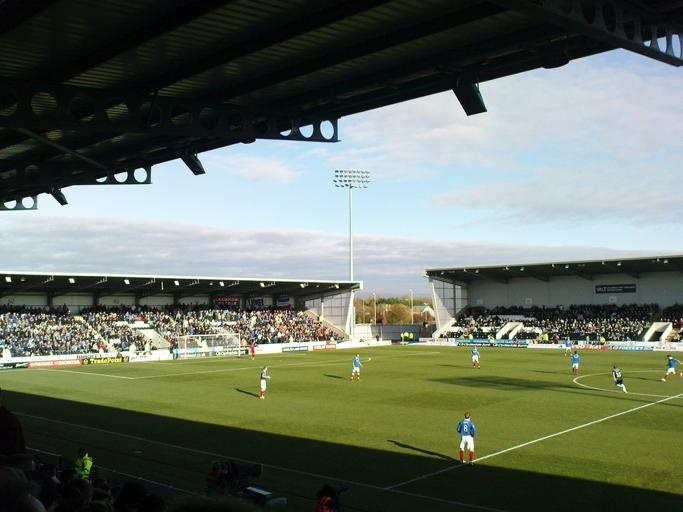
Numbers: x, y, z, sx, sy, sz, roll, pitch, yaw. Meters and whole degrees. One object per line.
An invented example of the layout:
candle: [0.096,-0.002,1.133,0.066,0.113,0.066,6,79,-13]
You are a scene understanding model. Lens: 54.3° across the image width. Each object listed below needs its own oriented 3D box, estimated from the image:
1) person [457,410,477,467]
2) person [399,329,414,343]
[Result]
person: [3.882,5.410,20.512,0.505,1.453,2.540,-2,-2,10]
person: [7.675,9.749,80.002,1.621,1.434,0.964,6,-9,-38]
